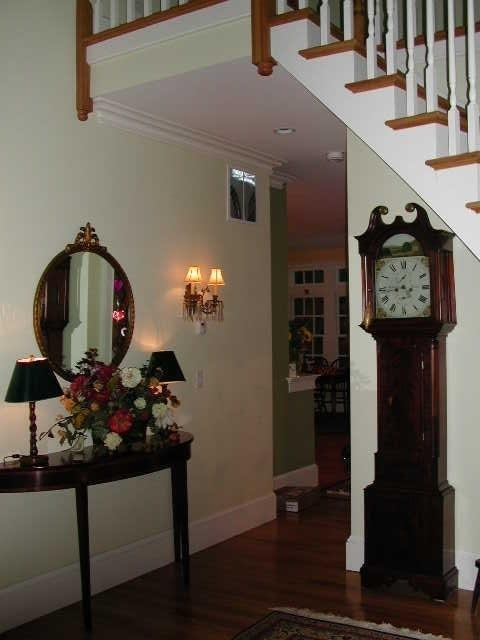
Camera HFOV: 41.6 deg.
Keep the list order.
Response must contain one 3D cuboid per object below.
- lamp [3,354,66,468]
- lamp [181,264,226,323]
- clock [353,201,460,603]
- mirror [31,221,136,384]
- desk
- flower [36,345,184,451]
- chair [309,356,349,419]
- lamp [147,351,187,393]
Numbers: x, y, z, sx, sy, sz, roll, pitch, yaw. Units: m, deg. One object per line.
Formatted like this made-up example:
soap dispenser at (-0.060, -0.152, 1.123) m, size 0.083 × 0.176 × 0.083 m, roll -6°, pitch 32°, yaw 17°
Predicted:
lamp at (-0.984, 0.407, 2.952) m, size 0.256 × 0.476 × 0.397 m, roll -6°, pitch 4°, yaw -38°
lamp at (-0.267, -0.185, 4.366) m, size 0.162 × 0.496 × 0.385 m, roll 0°, pitch 2°, yaw 33°
clock at (0.883, 0.391, 3.345) m, size 0.506 × 2.022 × 0.434 m, roll -2°, pitch 3°, yaw 23°
mirror at (-0.873, -0.091, 3.427) m, size 0.050 × 1.254 × 0.883 m, roll 2°, pitch 1°, yaw 29°
desk at (-0.757, 1.076, 3.205) m, size 0.333 × 0.661 × 0.944 m, roll 0°, pitch 4°, yaw 34°
flower at (-0.617, 0.423, 3.173) m, size 0.525 × 0.379 × 0.533 m, roll -12°, pitch -9°, yaw 40°
chair at (1.465, 1.149, 10.105) m, size 0.562 × 1.059 × 1.803 m, roll -3°, pitch 3°, yaw 7°
lamp at (-0.427, 0.282, 3.669) m, size 0.197 × 0.142 × 0.183 m, roll 5°, pitch -8°, yaw -22°
